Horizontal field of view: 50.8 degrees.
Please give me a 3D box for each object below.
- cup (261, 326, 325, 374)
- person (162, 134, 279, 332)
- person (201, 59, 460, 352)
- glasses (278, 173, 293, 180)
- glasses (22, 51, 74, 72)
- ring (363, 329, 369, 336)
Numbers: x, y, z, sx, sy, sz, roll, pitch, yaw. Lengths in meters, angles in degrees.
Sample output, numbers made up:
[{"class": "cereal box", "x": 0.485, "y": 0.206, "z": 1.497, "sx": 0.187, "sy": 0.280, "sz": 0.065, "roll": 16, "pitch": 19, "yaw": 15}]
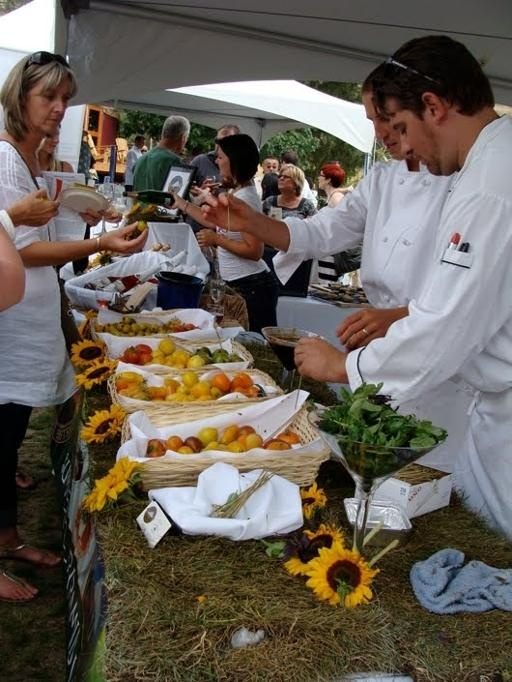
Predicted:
[{"class": "cup", "x": 0.125, "y": 0.030, "z": 1.838, "sx": 0.171, "sy": 0.165, "sz": 0.160, "roll": 0, "pitch": 6, "yaw": 0}, {"class": "person", "x": -0.226, "y": -0.678, "z": 3.764, "sx": 0.708, "sy": 1.362, "sz": 0.659, "roll": -10, "pitch": 20, "yaw": -36}, {"class": "person", "x": 0.362, "y": -0.385, "z": 2.062, "sx": 0.872, "sy": 1.103, "sz": 0.734, "roll": 13, "pitch": 21, "yaw": 40}, {"class": "glasses", "x": 0.326, "y": -1.836, "z": 6.066, "sx": 0.105, "sy": 0.030, "sz": 0.104, "roll": 2, "pitch": -8, "yaw": 35}, {"class": "glasses", "x": -0.845, "y": -1.122, "z": 2.173, "sx": 0.157, "sy": 0.078, "sz": 0.180, "roll": -1, "pitch": 21, "yaw": -19}, {"class": "ring", "x": 0.323, "y": -0.025, "z": 1.588, "sx": 0.014, "sy": 0.016, "sz": 0.006, "roll": -4, "pitch": -19, "yaw": 4}]
